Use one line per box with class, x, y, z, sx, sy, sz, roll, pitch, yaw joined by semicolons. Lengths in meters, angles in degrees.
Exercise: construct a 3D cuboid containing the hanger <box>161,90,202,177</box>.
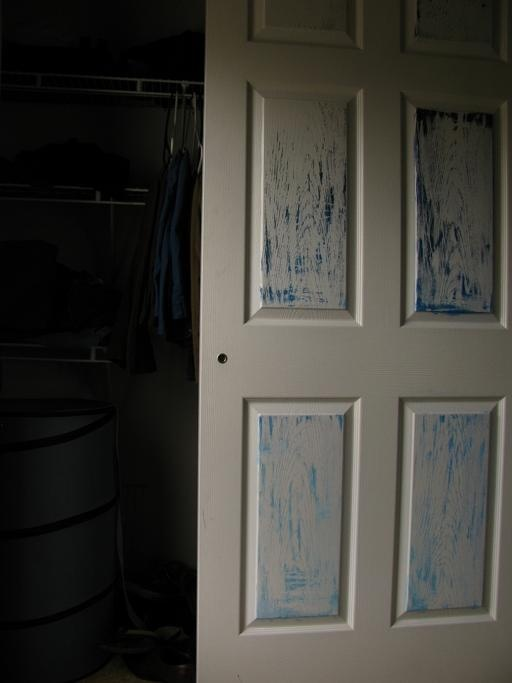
hanger;-0.230;-0.662;2.033;0.153;0.288;0.028;14;20;31
